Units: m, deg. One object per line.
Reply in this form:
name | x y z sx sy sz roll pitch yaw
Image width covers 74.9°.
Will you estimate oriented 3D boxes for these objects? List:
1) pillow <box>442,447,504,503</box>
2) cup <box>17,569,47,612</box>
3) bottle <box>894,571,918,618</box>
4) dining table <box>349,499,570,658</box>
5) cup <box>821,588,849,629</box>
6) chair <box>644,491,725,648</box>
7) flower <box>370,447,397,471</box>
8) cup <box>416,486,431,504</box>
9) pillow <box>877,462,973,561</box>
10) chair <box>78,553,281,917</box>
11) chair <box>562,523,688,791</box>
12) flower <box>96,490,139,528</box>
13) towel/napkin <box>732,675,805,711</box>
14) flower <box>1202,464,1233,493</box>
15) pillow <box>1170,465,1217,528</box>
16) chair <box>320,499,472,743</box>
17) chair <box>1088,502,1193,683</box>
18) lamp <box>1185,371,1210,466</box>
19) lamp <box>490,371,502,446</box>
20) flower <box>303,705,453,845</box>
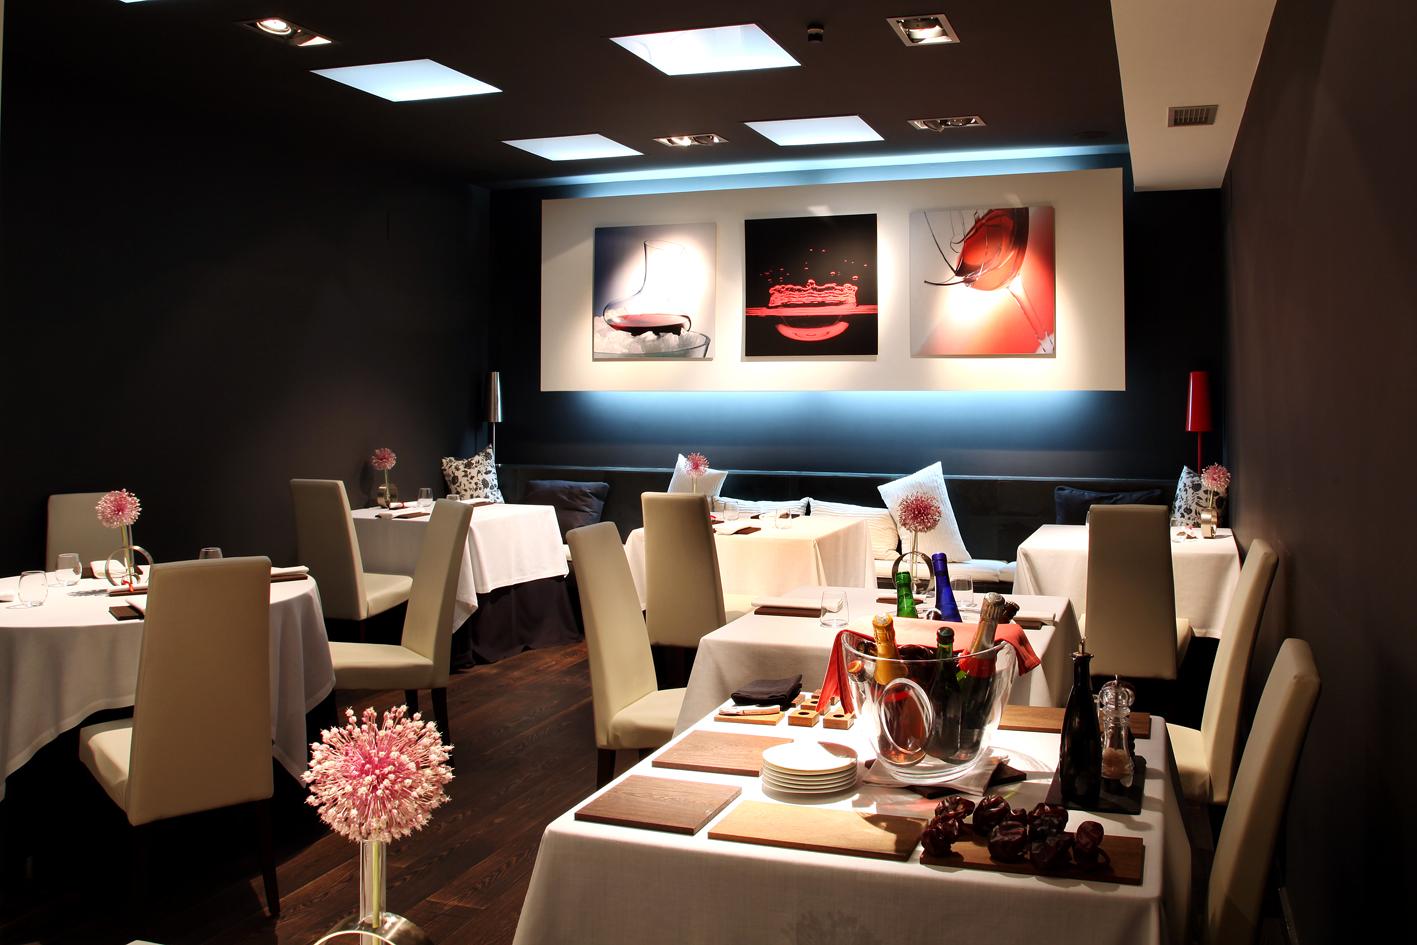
pillow | -1.974 0.021 7.642 0.330 0.417 0.170 -16 -10 -19
cup | -2.711 0.476 3.769 0.143 0.196 0.137 2 -6 0
bottle | 0.700 0.422 3.294 0.063 0.163 0.209 2 6 11
dining table | -1.673 0.743 6.727 1.061 0.873 1.147 0 5 36
cup | 0.452 0.490 3.306 0.108 0.128 0.110 -1 2 0
chair | -0.135 0.493 5.056 0.425 0.808 0.458 -2 5 10
flower | -2.522 -0.095 7.180 0.186 0.198 0.427 -1 7 -19
cup | -2.057 0.157 6.652 0.123 0.128 0.127 1 7 0
pillow | 1.653 0.299 7.049 0.681 0.709 0.628 5 7 30
chair | -1.887 0.953 3.339 0.652 1.307 0.423 0 6 -9
chair | -0.220 0.882 3.803 0.463 0.872 0.475 0 2 19
flower | -2.567 0.174 4.032 0.126 0.184 0.262 -3 7 -31
towel/napkin | 0.191 0.677 2.831 0.144 0.059 0.193 0 -1 11
flower | 3.180 0.036 5.801 0.204 0.089 0.211 -3 6 38
pillow | 3.178 0.159 6.006 0.276 0.410 0.094 3 -28 46
chair | -1.587 0.815 4.554 0.747 1.194 0.632 4 -3 -23
chair | 2.190 0.511 4.778 0.525 0.929 0.623 0 19 27
lamp | 3.518 -0.374 6.652 0.173 0.733 0.499 4 7 27
lamp | -1.902 -0.548 8.289 0.113 0.721 0.444 -1 6 -13
flower | -0.620 0.564 1.738 0.247 0.288 0.235 -1 7 -22
